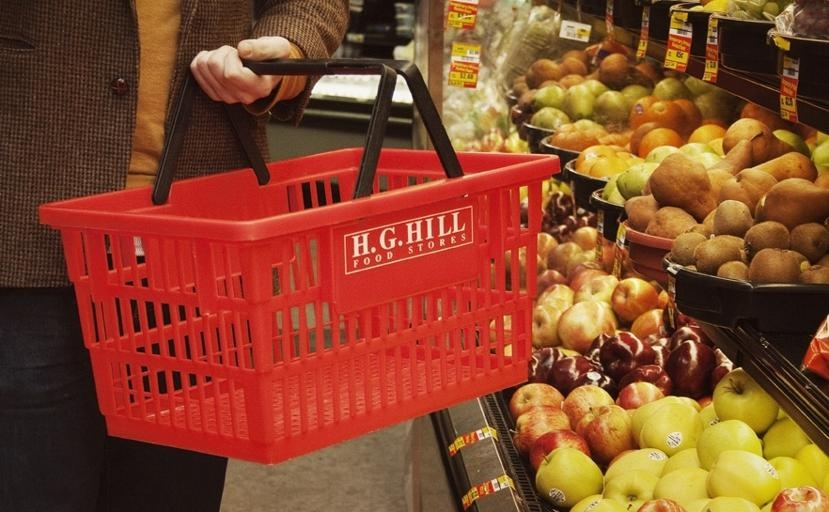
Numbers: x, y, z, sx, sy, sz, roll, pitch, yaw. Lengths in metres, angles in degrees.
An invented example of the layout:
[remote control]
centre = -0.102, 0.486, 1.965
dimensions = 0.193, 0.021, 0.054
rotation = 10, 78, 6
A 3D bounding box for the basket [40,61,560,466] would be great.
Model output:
[basket]
centre = -0.204, -0.006, 2.015
dimensions = 0.905, 0.957, 1.333
rotation = 5, 12, 40
